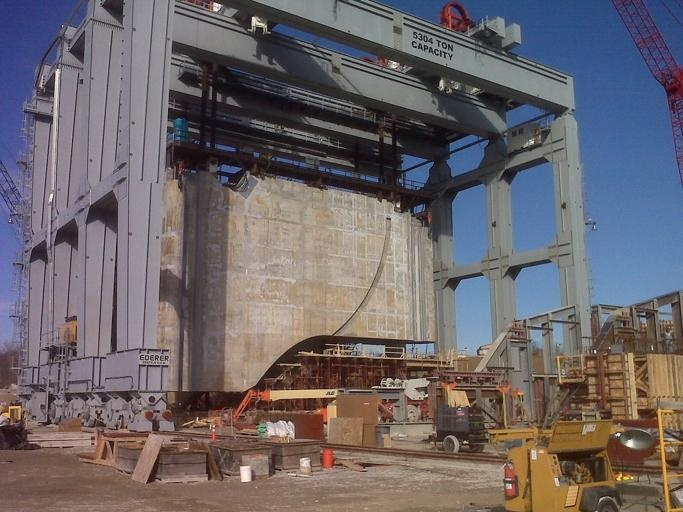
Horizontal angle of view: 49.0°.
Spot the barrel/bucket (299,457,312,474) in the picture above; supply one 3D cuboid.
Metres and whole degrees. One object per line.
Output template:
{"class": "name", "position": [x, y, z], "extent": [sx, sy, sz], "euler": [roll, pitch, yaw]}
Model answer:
{"class": "barrel/bucket", "position": [-1.276, 7.404, 26.455], "extent": [0.406, 0.575, 0.733], "euler": [0, -15, -4]}

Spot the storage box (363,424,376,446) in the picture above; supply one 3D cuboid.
{"class": "storage box", "position": [1.278, 8.107, 34.147], "extent": [0.742, 0.981, 0.268], "euler": [-8, -15, 27]}

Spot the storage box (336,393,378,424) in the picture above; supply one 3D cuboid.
{"class": "storage box", "position": [0.876, 7.332, 36.152], "extent": [1.517, 1.642, 3.220], "euler": [4, -16, -16]}

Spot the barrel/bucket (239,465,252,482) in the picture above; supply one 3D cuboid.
{"class": "barrel/bucket", "position": [-3.196, 7.261, 24.979], "extent": [0.386, 0.497, 0.427], "euler": [1, -5, -3]}

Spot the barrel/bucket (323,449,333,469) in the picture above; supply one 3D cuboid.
{"class": "barrel/bucket", "position": [-0.519, 7.401, 27.317], "extent": [0.346, 0.645, 0.478], "euler": [-1, -14, 2]}
